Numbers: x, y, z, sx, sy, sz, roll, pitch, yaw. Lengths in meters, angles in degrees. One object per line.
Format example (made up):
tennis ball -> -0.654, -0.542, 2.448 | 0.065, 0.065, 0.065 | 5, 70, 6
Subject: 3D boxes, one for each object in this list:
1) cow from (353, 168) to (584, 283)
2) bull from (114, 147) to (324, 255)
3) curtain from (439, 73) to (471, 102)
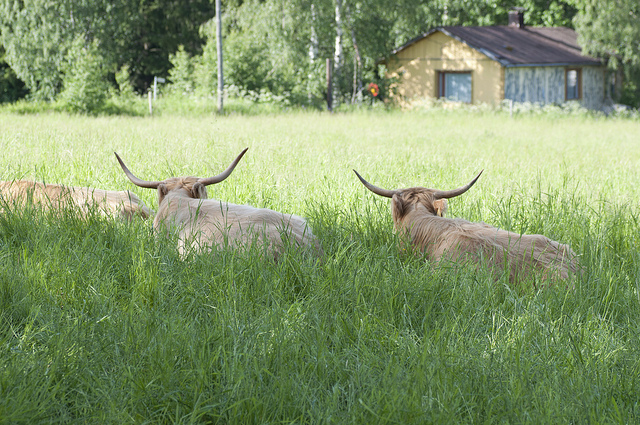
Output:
cow -> 1.850, 0.237, 8.608 | 1.212, 1.267, 2.008 | -9, 22, -33
bull -> -1.110, -0.014, 8.935 | 1.265, 1.403, 2.153 | -7, 18, -41
curtain -> 6.028, -5.487, 33.604 | 0.170, 1.191, 1.170 | -13, 14, -41
